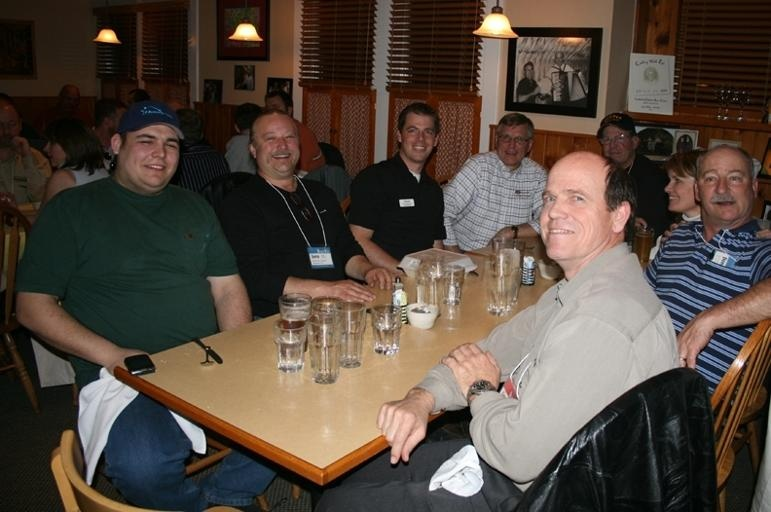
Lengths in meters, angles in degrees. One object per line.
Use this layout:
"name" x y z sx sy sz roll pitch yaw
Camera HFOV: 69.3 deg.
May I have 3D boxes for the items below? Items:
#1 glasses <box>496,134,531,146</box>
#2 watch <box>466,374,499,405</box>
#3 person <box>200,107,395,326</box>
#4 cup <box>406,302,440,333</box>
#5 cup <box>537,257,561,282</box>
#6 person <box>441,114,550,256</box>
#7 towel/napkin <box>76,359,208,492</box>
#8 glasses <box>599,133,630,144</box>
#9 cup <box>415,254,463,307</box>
"glasses" 1.041 -0.935 4.469 0.273 0.072 0.146 2 11 5
"watch" 0.376 0.513 2.144 0.086 0.108 0.095 6 3 5
"person" -0.507 -0.206 3.393 0.869 1.272 0.873 12 20 41
"cup" 0.170 0.290 2.573 0.114 0.080 0.118 -1 0 0
"cup" 0.949 0.084 3.236 0.112 0.093 0.123 0 3 0
"person" 0.937 -0.490 4.511 0.898 1.320 0.794 7 20 1
"towel/napkin" -1.204 0.781 2.430 0.409 0.531 0.188 9 -28 -27
"glasses" 1.971 -1.023 4.823 0.090 0.090 0.244 -10 16 -42
"cup" 0.285 0.127 2.904 0.254 0.266 0.181 4 13 19
